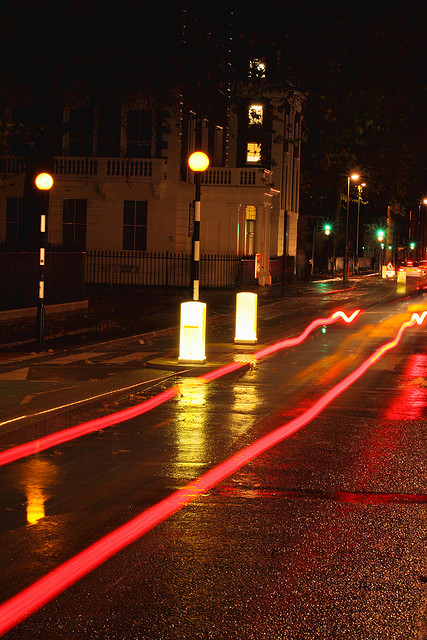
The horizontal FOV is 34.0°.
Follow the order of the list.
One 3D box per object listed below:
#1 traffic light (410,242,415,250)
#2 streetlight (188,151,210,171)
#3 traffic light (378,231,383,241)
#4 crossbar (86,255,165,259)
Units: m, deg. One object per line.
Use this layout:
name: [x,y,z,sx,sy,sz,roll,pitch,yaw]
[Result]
traffic light: [45.007,-16.864,157.590,1.011,1.253,2.013,-4,-32,5]
streetlight: [-0.313,-3.493,15.149,0.362,0.428,0.557,2,4,1]
traffic light: [19.311,-9.725,80.312,0.378,1.041,0.402,-3,7,0]
crossbar: [-5.608,-3.611,39.786,3.119,0.122,0.540,3,4,6]
